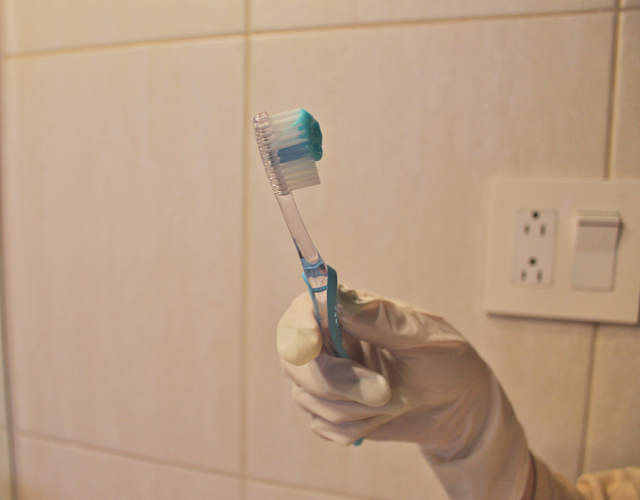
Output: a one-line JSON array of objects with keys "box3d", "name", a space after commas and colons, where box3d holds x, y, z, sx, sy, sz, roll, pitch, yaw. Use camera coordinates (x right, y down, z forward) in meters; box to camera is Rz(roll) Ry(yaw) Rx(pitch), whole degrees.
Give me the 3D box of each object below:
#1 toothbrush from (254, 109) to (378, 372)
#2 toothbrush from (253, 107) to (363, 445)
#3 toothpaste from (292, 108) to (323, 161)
[{"box3d": [-0.002, 0.001, 0.894, 0.099, 0.338, 0.057, -11, 15, -9], "name": "toothbrush"}, {"box3d": [-0.021, -0.012, 0.885, 0.067, 0.304, 0.043, -8, 15, 3], "name": "toothbrush"}, {"box3d": [-0.012, -0.134, 0.873, 0.021, 0.061, 0.042, -2, 17, 26], "name": "toothpaste"}]
